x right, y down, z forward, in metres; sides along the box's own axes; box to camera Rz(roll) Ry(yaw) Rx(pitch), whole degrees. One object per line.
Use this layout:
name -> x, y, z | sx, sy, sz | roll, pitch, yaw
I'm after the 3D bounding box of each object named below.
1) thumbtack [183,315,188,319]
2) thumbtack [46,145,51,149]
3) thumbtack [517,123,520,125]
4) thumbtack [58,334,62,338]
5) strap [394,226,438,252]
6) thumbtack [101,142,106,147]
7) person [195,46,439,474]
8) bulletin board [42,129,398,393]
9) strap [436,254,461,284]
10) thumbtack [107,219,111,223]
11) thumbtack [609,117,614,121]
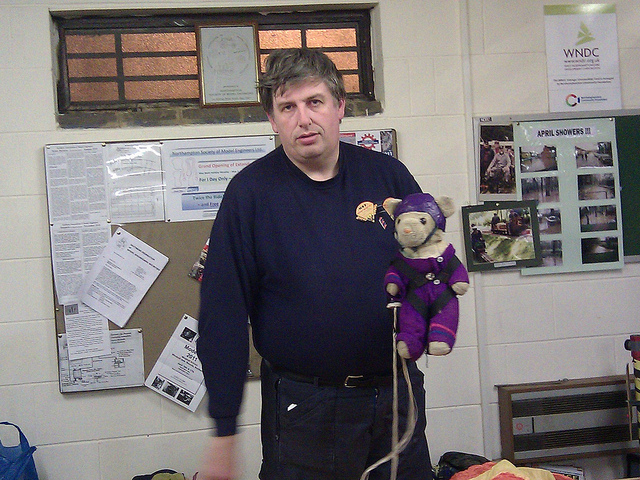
thumbtack -> -0.682, 0.392, 4.561 | 0.020, 0.019, 0.005 | 5, 0, 2
thumbtack -> -1.355, -0.464, 4.506 | 0.019, 0.017, 0.004 | 6, -5, -7
thumbtack -> 1.024, -0.611, 4.720 | 0.008, 0.007, 0.008 | -1, -31, 5
thumbtack -> -1.298, 0.481, 4.509 | 0.019, 0.015, 0.004 | -5, 2, -9
strap -> 0.392, 0.002, 3.496 | 0.113, 0.110, 0.031 | -3, -8, 12
thumbtack -> -1.087, -0.481, 4.531 | 0.022, 0.020, 0.005 | 4, -2, -9
person -> -0.068, 0.085, 3.704 | 0.891, 1.344, 0.327 | -5, 2, 9
bulletin board -> -0.486, 0.155, 4.400 | 1.907, 1.316, 0.026 | 0, 1, 19
strap -> 0.485, 0.113, 3.520 | 0.038, 0.105, 0.076 | 40, -10, -9
thumbtack -> -1.065, -0.097, 4.538 | 0.018, 0.017, 0.004 | 2, 1, 0
thumbtack -> 1.525, -0.641, 4.772 | 0.019, 0.019, 0.005 | 1, -4, 7
